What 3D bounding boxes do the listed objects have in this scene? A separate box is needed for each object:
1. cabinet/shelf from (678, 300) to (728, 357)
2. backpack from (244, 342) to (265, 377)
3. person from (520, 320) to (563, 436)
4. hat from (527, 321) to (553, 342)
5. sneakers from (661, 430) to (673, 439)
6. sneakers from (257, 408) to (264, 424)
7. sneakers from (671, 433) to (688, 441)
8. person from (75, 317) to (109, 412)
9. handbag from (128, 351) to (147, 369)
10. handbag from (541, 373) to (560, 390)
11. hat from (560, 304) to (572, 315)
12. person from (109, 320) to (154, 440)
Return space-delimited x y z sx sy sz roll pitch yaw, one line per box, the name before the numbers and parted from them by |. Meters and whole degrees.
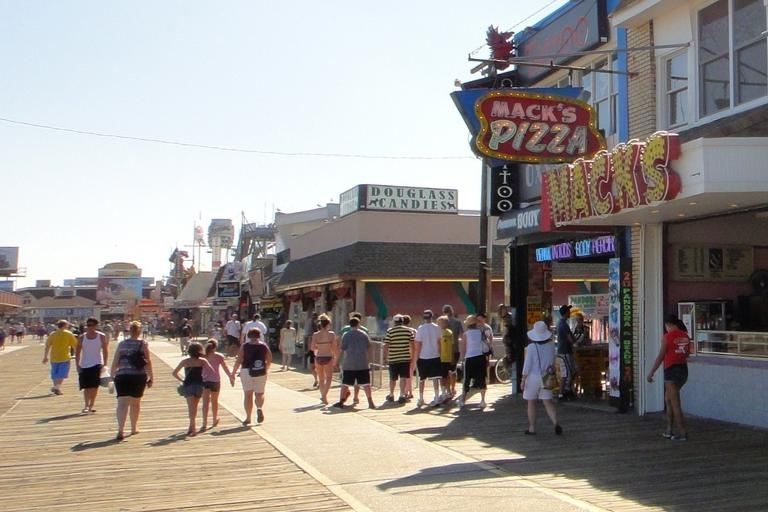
cabinet/shelf | 7.414 1.626 15.528 0.996 1.827 1.371 -3 -9 17
backpack | -2.862 2.295 14.829 0.519 0.736 0.196 2 -6 -13
person | 3.268 2.468 13.783 0.768 2.239 0.855 -1 -6 14
hat | 3.221 1.533 13.854 0.435 0.256 0.468 -3 23 3
sneakers | 5.536 3.452 13.043 0.199 0.127 0.428 -2 -7 21
sneakers | -2.657 3.506 14.684 0.131 0.279 0.260 0 -6 4
sneakers | 5.668 3.445 12.837 0.275 0.118 0.324 -3 -7 28
person | -7.224 2.670 16.586 0.690 2.242 0.936 4 -7 -33
handbag | -4.954 2.101 13.445 0.352 0.376 0.260 -2 -2 -5
handbag | 3.404 2.521 13.542 0.410 0.330 0.189 6 -9 -44
hat | 4.711 1.364 17.211 0.311 0.164 0.216 -34 18 -16
person | -5.073 2.471 13.497 0.732 2.245 0.851 5 -8 -36
